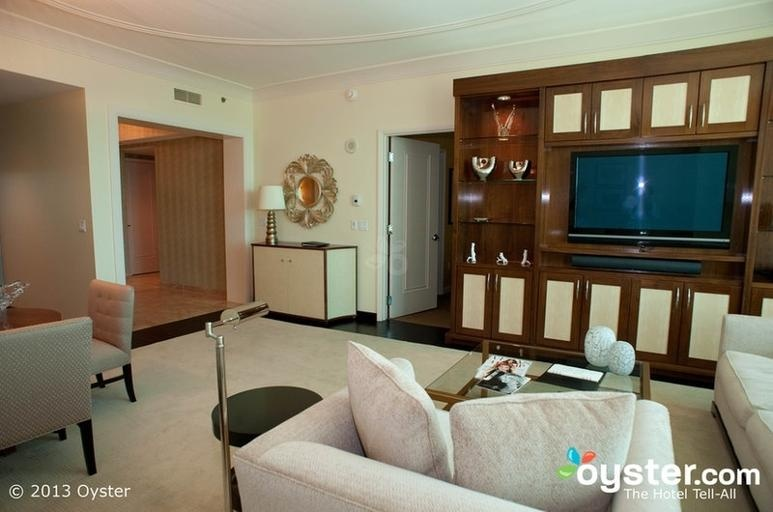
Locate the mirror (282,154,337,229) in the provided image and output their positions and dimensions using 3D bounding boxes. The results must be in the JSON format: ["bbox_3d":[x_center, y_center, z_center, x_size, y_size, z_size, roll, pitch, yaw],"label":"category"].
[{"bbox_3d":[-1.029,-0.908,6.807,1.048,1.170,0.055,2,6,17],"label":"mirror"}]

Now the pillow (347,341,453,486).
[{"bbox_3d":[0.027,0.788,2.475,0.240,0.634,0.630,-6,11,-38],"label":"pillow"}]

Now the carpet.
[{"bbox_3d":[2.343,1.502,3.642,0.315,0.059,1.043,3,18,25],"label":"carpet"}]

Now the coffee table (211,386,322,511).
[{"bbox_3d":[-0.805,1.160,3.475,0.696,0.761,0.704,-6,14,-23],"label":"coffee table"}]

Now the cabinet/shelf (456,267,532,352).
[{"bbox_3d":[1.164,0.540,5.226,0.893,0.823,0.382,3,2,27],"label":"cabinet/shelf"}]

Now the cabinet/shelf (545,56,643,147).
[{"bbox_3d":[2.058,-1.478,4.997,0.913,0.770,0.351,1,-6,18],"label":"cabinet/shelf"}]

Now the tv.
[{"bbox_3d":[2.589,-0.580,4.946,1.440,0.985,0.099,4,11,32],"label":"tv"}]

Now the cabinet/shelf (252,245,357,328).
[{"bbox_3d":[-1.148,0.329,6.764,1.528,0.965,0.514,4,7,34],"label":"cabinet/shelf"}]

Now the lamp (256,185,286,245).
[{"bbox_3d":[-1.575,-0.583,6.861,0.372,0.801,0.554,-2,9,-15],"label":"lamp"}]

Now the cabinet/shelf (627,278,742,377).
[{"bbox_3d":[2.894,0.710,4.794,0.417,0.998,1.035,10,-5,-40],"label":"cabinet/shelf"}]

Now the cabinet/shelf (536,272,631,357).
[{"bbox_3d":[1.980,0.597,5.122,0.889,0.806,0.326,5,-8,10],"label":"cabinet/shelf"}]

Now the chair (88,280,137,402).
[{"bbox_3d":[-2.352,0.744,4.278,0.339,1.018,0.522,-5,10,-30],"label":"chair"}]
